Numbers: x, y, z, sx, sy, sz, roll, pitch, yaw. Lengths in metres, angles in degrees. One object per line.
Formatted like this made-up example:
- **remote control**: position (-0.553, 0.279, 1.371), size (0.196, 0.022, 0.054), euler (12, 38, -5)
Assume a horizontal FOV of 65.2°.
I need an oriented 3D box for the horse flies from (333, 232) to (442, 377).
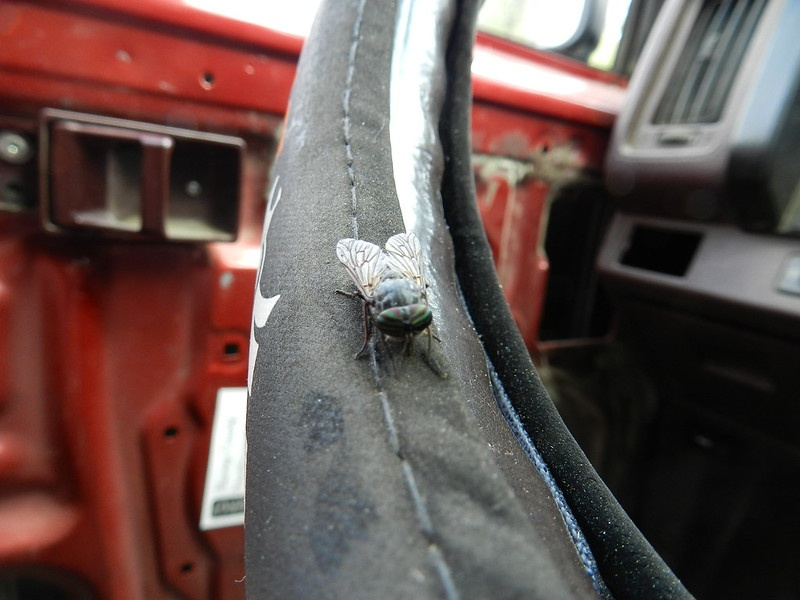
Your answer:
- **horse flies**: position (-0.001, -0.001, 0.929), size (0.154, 0.081, 0.266), euler (-8, 42, -17)
